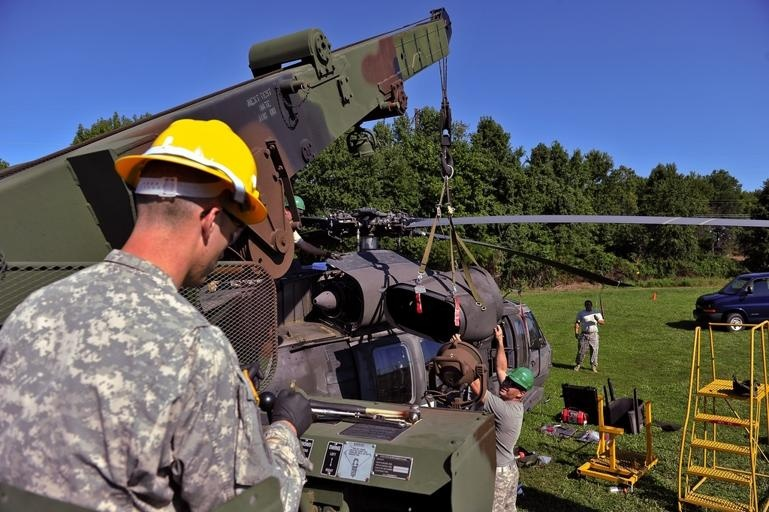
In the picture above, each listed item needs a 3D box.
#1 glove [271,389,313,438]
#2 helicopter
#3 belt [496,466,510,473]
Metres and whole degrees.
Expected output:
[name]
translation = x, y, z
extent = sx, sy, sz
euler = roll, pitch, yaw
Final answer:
[glove]
translation = -0.551, 0.926, 3.272
extent = 0.194, 0.123, 0.277
euler = 27, 17, -3
[helicopter]
translation = 1.598, 0.775, 12.066
extent = 11.559, 5.028, 3.984
euler = 0, 0, 13
[belt]
translation = 1.484, 2.675, 6.745
extent = 0.182, 0.086, 0.069
euler = 2, -1, -20
